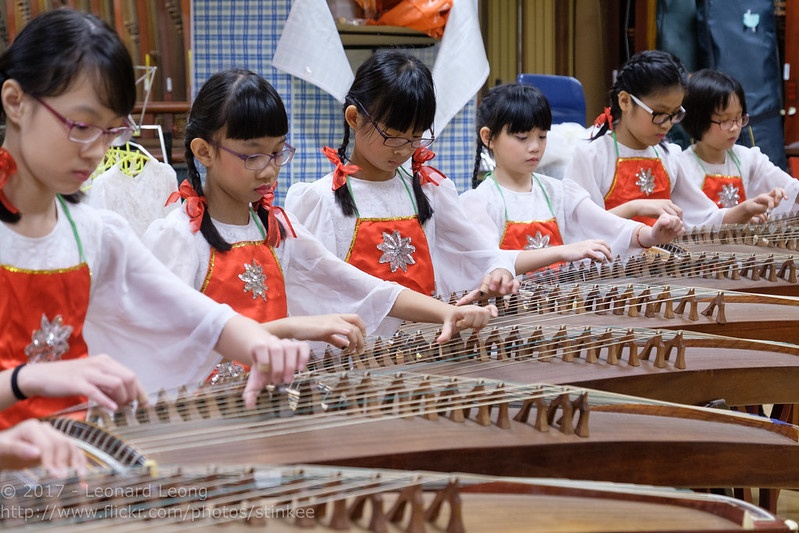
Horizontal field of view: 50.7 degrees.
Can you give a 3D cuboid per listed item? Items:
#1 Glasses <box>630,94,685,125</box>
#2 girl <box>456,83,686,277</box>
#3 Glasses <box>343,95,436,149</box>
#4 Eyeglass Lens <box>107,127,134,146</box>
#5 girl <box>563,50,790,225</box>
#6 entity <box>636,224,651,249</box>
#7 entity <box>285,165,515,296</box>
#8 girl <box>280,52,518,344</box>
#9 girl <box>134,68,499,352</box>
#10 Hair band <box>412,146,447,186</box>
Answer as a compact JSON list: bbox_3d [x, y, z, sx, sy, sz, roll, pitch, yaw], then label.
[{"bbox_3d":[1.288,-0.767,4.221,0.194,0.060,0.197,-14,51,-46],"label":"Glasses"},{"bbox_3d":[0.657,-0.291,3.832,0.956,1.029,0.801,-1,3,-27],"label":"girl"},{"bbox_3d":[-0.060,-0.539,3.228,0.247,0.074,0.253,-6,47,-51],"label":"Glasses"},{"bbox_3d":[-0.804,-0.373,2.439,0.073,0.025,0.075,-13,38,-37],"label":"Eyeglass Lens"},{"bbox_3d":[1.528,-0.729,4.666,1.164,1.094,0.861,0,15,18],"label":"girl"},{"bbox_3d":[1.106,-0.129,3.810,0.043,0.098,0.068,-4,10,-40],"label":"entity"},{"bbox_3d":[-0.005,-0.123,3.377,0.412,0.452,0.240,-32,17,-37],"label":"entity"},{"bbox_3d":[0.000,-0.250,3.357,0.954,1.123,0.762,-4,11,-32],"label":"girl"},{"bbox_3d":[-0.297,-0.085,2.896,1.155,0.894,0.914,20,14,35],"label":"girl"},{"bbox_3d":[0.103,-0.417,3.505,0.137,0.090,0.074,12,23,29],"label":"Hair band"}]
